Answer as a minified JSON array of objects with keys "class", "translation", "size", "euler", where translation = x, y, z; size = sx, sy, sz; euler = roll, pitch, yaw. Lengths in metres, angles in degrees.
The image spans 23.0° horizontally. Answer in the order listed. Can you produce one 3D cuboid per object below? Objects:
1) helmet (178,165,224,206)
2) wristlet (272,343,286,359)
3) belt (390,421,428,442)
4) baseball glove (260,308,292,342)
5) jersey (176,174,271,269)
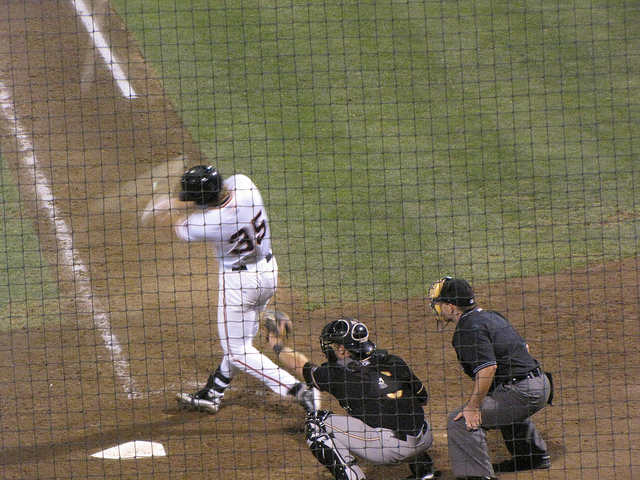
[{"class":"helmet","translation":[-1.403,-0.642,18.456],"size":[0.715,0.350,0.353],"euler":[-9,54,-4]},{"class":"wristlet","translation":[-0.474,1.269,18.205],"size":[0.187,0.120,0.151],"euler":[5,2,7]},{"class":"belt","translation":[1.016,2.160,17.701],"size":[0.449,0.133,0.130],"euler":[-10,42,-12]},{"class":"baseball glove","translation":[-0.578,0.992,18.389],"size":[0.471,0.316,0.526],"euler":[1,-2,15]},{"class":"jersey","translation":[-1.170,-0.206,18.806],"size":[1.109,0.992,0.721],"euler":[-42,44,-16]}]
